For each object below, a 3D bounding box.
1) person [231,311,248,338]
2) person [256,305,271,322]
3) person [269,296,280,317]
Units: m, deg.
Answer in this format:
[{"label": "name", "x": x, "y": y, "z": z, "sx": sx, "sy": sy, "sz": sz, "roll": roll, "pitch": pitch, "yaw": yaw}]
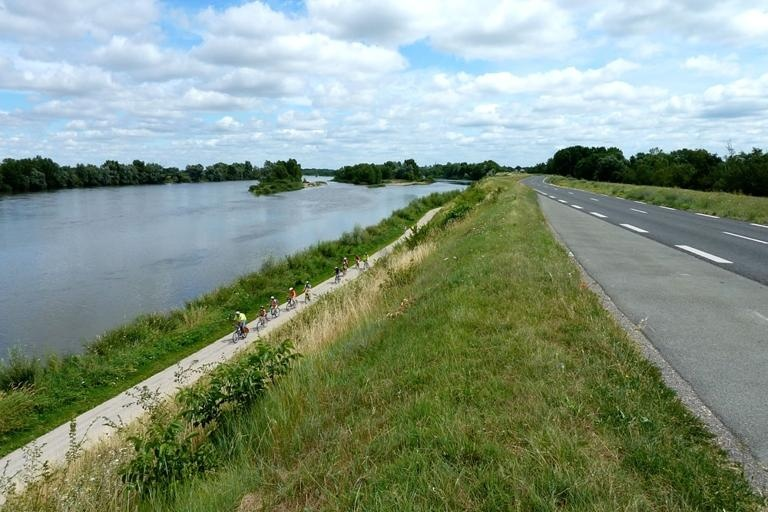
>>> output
[{"label": "person", "x": -6.940, "y": 3.073, "z": 24.532, "sx": 0.549, "sy": 1.293, "sz": 2.336, "roll": -6, "pitch": 15, "yaw": -16}, {"label": "person", "x": -5.998, "y": 2.884, "z": 25.054, "sx": 0.590, "sy": 0.574, "sz": 0.898, "roll": -2, "pitch": 0, "yaw": -8}, {"label": "person", "x": -5.701, "y": 2.711, "z": 26.545, "sx": 0.539, "sy": 0.692, "sz": 1.109, "roll": 1, "pitch": -2, "yaw": -3}]
